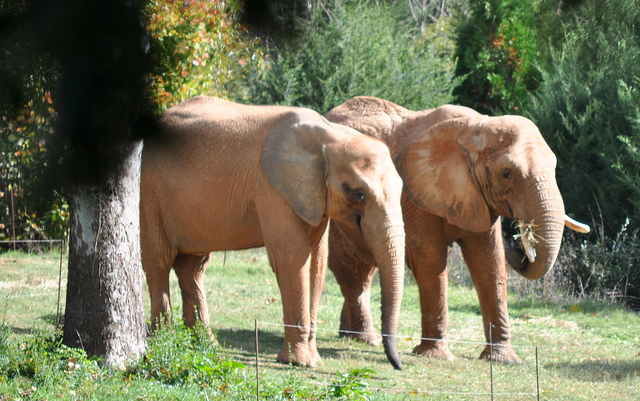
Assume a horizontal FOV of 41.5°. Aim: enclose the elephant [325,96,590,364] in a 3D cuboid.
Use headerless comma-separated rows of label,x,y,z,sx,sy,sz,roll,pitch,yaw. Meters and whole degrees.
elephant,2.071,0.724,16.180,5.334,4.836,2.448,3,13,40
